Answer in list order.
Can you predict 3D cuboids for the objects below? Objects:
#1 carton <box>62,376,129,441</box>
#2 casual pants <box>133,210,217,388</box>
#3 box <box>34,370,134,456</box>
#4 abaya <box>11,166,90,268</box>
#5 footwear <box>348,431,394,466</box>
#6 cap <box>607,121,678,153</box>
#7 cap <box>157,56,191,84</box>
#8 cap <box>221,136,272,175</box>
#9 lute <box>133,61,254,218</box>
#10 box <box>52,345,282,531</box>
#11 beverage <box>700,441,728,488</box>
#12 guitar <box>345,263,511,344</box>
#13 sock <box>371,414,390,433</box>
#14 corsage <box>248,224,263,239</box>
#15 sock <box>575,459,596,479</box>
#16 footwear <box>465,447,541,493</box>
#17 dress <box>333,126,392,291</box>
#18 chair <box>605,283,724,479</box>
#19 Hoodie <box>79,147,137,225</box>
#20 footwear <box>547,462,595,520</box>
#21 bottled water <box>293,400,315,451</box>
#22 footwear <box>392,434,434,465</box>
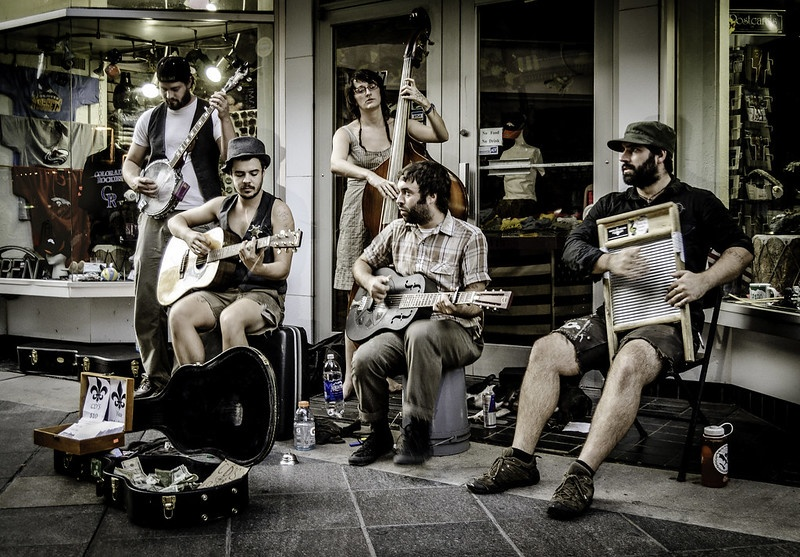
[{"bbox_3d":[-1.824,0.769,4.199,0.396,0.400,0.350,3,1,19],"label":"carton"},{"bbox_3d":[-1.830,0.149,5.678,0.552,1.498,0.211,-3,-11,30],"label":"casual pants"},{"bbox_3d":[-1.867,0.795,4.208,0.430,0.406,0.360,3,1,31],"label":"box"},{"bbox_3d":[-3.735,-0.638,7.645,0.961,1.330,0.219,2,7,12],"label":"abaya"},{"bbox_3d":[-0.171,1.081,4.509,0.123,0.148,0.352,6,9,43],"label":"footwear"},{"bbox_3d":[1.513,-0.859,4.326,0.319,0.141,0.236,6,-6,-7],"label":"cap"},{"bbox_3d":[-1.739,-1.593,5.503,0.217,0.191,0.234,9,23,13],"label":"cap"},{"bbox_3d":[-1.123,-0.915,5.079,0.461,0.246,0.569,-2,2,-15],"label":"cap"},{"bbox_3d":[-1.527,-1.161,5.749,0.561,1.568,0.222,35,0,1],"label":"lute"},{"bbox_3d":[-1.279,0.906,4.040,1.393,0.970,0.822,5,-5,43],"label":"box"},{"bbox_3d":[1.825,1.053,4.123,0.213,0.302,0.225,0,-6,21],"label":"beverage"},{"bbox_3d":[0.129,0.211,4.460,1.028,0.508,0.160,-1,-26,38],"label":"guitar"},{"bbox_3d":[-0.123,0.924,4.524,0.097,0.114,0.103,-4,5,10],"label":"sock"},{"bbox_3d":[-1.001,-0.325,4.887,0.073,0.085,0.099,-6,9,-40],"label":"corsage"},{"bbox_3d":[0.996,1.030,3.836,0.111,0.040,0.080,41,-15,8],"label":"sock"},{"bbox_3d":[0.621,1.118,4.179,0.479,0.273,0.181,-3,2,-14],"label":"footwear"},{"bbox_3d":[-0.323,-0.556,5.740,0.460,1.250,0.235,3,4,20],"label":"dress"},{"bbox_3d":[1.672,0.673,4.843,0.794,1.417,0.981,4,1,41],"label":"chair"},{"bbox_3d":[-3.152,-0.985,7.552,0.447,0.865,0.188,3,-1,14],"label":"Hoodie"},{"bbox_3d":[0.921,1.142,3.829,0.143,0.190,0.398,10,10,29],"label":"footwear"},{"bbox_3d":[-0.644,0.966,4.787,0.148,0.334,0.206,-1,7,-10],"label":"bottled water"},{"bbox_3d":[0.102,1.043,4.490,0.256,0.279,0.130,3,13,17],"label":"footwear"}]
